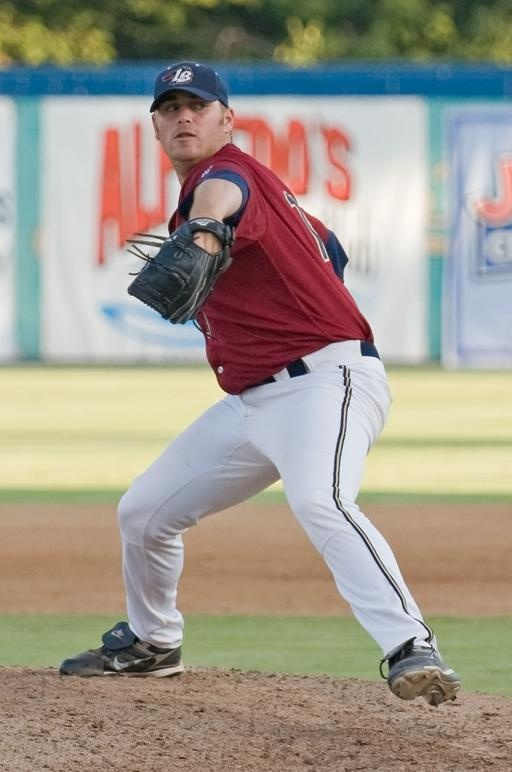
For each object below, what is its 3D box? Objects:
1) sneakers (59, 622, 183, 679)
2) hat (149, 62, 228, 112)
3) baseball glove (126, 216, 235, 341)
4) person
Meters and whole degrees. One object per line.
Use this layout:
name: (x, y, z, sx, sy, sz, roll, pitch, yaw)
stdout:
sneakers: (-0.434, 0.892, 4.602, 0.452, 0.185, 0.164, 2, -4, -4)
hat: (-0.204, -0.905, 4.076, 0.205, 0.132, 0.269, 1, 7, 14)
baseball glove: (-0.214, -0.272, 3.758, 0.340, 0.136, 0.368, 24, -17, 3)
person: (0.005, 0.150, 4.070, 0.869, 1.703, 1.100, -1, 4, -16)
